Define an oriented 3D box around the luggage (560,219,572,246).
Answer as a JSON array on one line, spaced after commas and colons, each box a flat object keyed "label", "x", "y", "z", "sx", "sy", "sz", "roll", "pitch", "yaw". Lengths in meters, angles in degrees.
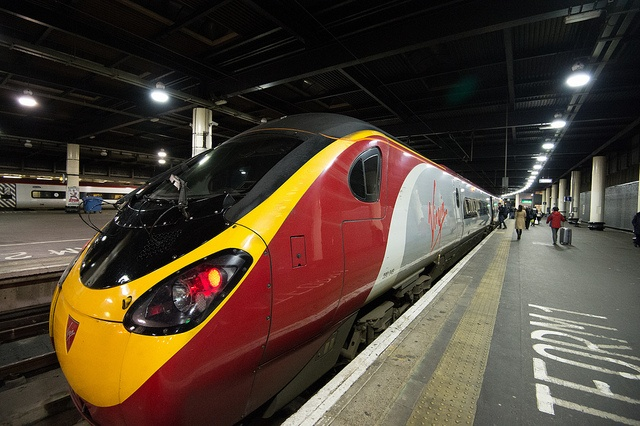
[{"label": "luggage", "x": 9.131, "y": 0.860, "z": 12.923, "sx": 0.349, "sy": 0.594, "sz": 0.379, "roll": 3, "pitch": 3, "yaw": 32}]
